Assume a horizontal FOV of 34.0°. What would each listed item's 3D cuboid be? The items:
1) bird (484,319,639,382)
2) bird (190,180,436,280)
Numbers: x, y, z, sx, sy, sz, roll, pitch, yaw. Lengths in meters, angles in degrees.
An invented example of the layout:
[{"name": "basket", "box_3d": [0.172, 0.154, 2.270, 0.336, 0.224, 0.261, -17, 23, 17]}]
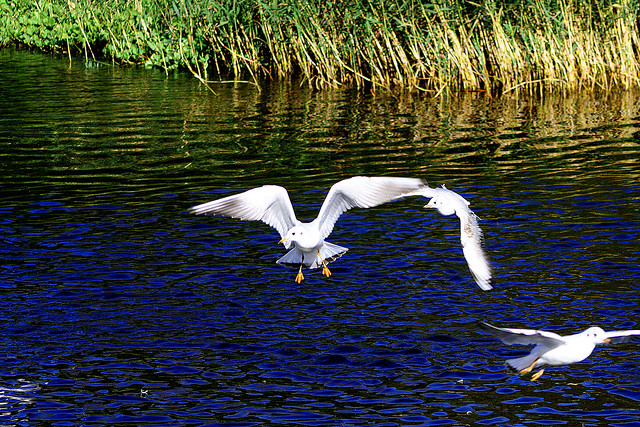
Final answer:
[{"name": "bird", "box_3d": [2.513, 1.482, 11.707, 1.968, 0.447, 1.044, -2, 19, -32]}, {"name": "bird", "box_3d": [0.098, 0.020, 13.607, 3.113, 0.698, 1.499, -7, 0, 20]}]
